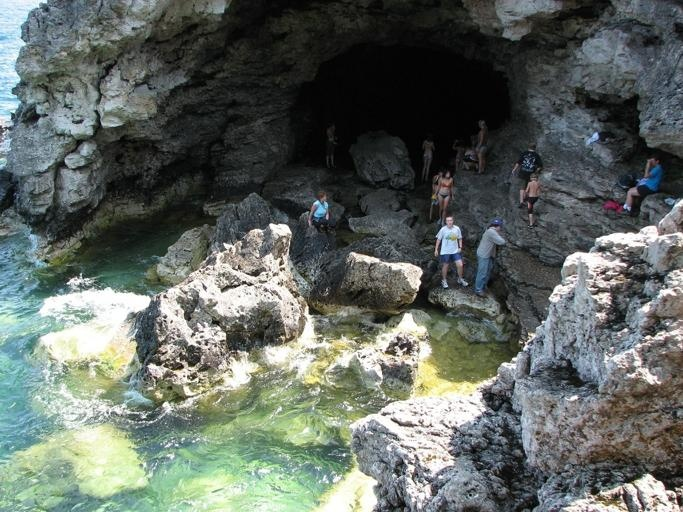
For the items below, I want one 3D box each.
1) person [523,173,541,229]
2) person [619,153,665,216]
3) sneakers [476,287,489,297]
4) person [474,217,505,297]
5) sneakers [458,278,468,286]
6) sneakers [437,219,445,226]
[{"bbox_3d":[4.720,-1.388,13.791,0.403,1.337,0.849,10,11,18],"label":"person"},{"bbox_3d":[6.822,-1.595,12.545,0.347,1.333,0.617,2,11,-22],"label":"person"},{"bbox_3d":[3.208,0.852,12.641,0.257,0.154,0.255,6,42,19],"label":"sneakers"},{"bbox_3d":[3.302,0.030,12.474,0.498,1.778,0.894,8,11,12],"label":"person"},{"bbox_3d":[2.820,0.623,12.875,0.135,0.108,0.291,46,-6,-33],"label":"sneakers"},{"bbox_3d":[2.740,-0.911,15.225,0.189,0.141,0.281,-11,-6,-1],"label":"sneakers"}]
